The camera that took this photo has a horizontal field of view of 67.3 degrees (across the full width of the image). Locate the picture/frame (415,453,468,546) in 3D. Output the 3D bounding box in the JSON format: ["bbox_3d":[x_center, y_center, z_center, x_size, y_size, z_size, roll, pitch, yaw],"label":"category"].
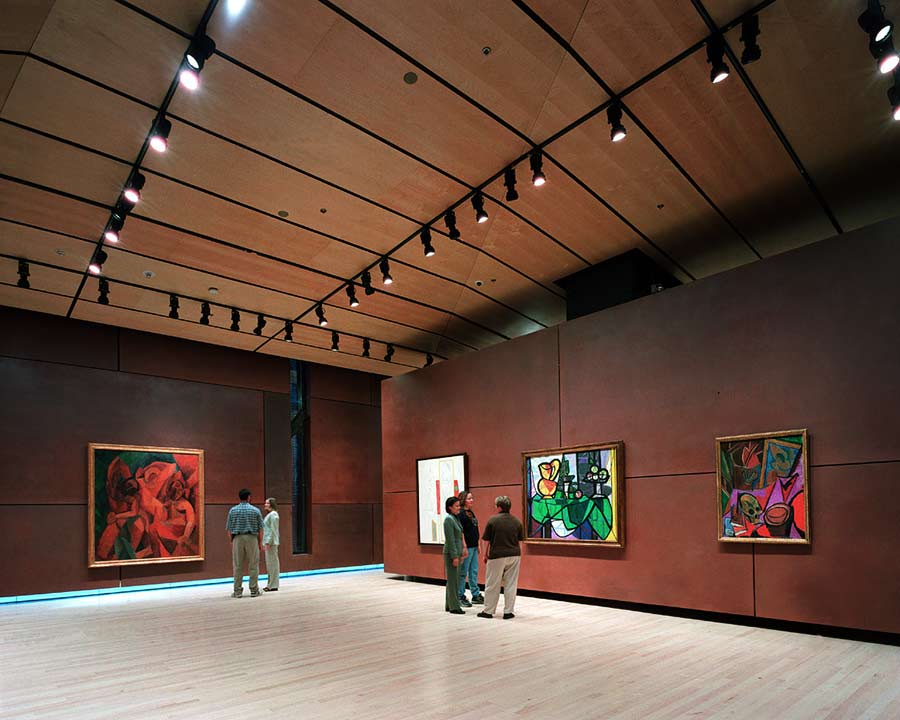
[{"bbox_3d":[-0.126,2.330,11.475,0.105,1.984,1.406,3,-8,-27],"label":"picture/frame"}]

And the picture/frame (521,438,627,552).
[{"bbox_3d":[1.856,1.954,9.822,0.065,1.388,1.469,5,-10,-34],"label":"picture/frame"}]

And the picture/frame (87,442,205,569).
[{"bbox_3d":[-5.872,2.765,12.810,2.164,2.903,0.181,2,-5,-41],"label":"picture/frame"}]

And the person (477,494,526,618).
[{"bbox_3d":[0.663,2.608,9.175,0.553,1.535,1.339,-1,-9,2],"label":"person"}]

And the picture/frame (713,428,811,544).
[{"bbox_3d":[3.696,1.472,7.903,0.070,1.622,1.065,9,-14,-34],"label":"picture/frame"}]

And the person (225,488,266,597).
[{"bbox_3d":[-3.658,3.153,11.992,0.599,1.770,2.328,2,-10,-17],"label":"person"}]

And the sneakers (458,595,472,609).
[{"bbox_3d":[0.208,3.359,9.438,0.072,0.151,0.197,4,-18,-21],"label":"sneakers"}]

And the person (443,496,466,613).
[{"bbox_3d":[0.055,2.612,9.189,0.262,1.507,0.786,-1,-8,0],"label":"person"}]
